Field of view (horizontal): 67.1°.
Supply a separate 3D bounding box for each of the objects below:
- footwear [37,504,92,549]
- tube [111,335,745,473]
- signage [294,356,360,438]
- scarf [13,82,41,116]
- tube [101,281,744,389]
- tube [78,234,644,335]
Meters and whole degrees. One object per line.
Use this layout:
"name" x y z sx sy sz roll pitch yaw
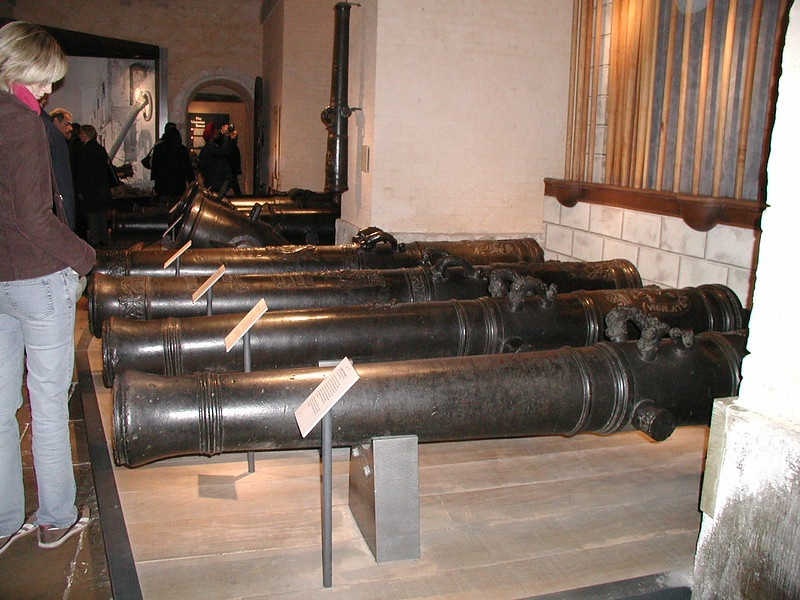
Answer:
"footwear" -1.320 0.910 2.402 0.074 0.079 0.199 11 18 24
"tube" 0.049 0.403 2.427 2.628 0.452 0.629 -1 6 -17
"signage" -0.294 0.336 2.052 0.219 0.035 0.379 -43 -10 -29
"scarf" -1.325 -0.720 2.173 0.037 0.094 0.070 -50 22 -22
"tube" -0.060 0.163 3.103 3.191 0.495 0.464 -4 16 17
"tube" -0.232 -0.085 3.543 3.603 0.528 0.666 -1 10 -18
